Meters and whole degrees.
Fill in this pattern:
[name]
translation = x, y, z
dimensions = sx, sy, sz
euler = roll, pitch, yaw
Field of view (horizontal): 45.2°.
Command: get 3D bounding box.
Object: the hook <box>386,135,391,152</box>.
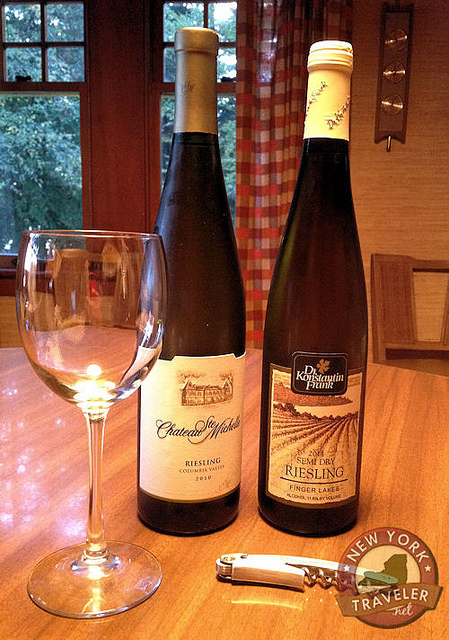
[hook]
translation = 0.763, -0.815, 2.484
dimensions = 0.020, 0.066, 0.054
euler = 1, 4, 16

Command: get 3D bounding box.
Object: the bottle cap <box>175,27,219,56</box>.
[bottle cap]
translation = -0.016, -0.165, 0.327
dimensions = 0.020, 0.011, 0.020
euler = -10, 25, -31

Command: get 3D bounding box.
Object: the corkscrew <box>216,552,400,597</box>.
[corkscrew]
translation = 0.044, 0.139, 0.297
dimensions = 0.112, 0.015, 0.033
euler = 5, 14, -2

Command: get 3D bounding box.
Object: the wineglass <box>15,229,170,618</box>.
[wineglass]
translation = -0.077, 0.056, 0.315
dimensions = 0.073, 0.211, 0.075
euler = -2, 8, -25

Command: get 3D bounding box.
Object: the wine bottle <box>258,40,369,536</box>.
[wine bottle]
translation = 0.065, -0.016, 0.392
dimensions = 0.076, 0.313, 0.144
euler = 1, 4, 15
